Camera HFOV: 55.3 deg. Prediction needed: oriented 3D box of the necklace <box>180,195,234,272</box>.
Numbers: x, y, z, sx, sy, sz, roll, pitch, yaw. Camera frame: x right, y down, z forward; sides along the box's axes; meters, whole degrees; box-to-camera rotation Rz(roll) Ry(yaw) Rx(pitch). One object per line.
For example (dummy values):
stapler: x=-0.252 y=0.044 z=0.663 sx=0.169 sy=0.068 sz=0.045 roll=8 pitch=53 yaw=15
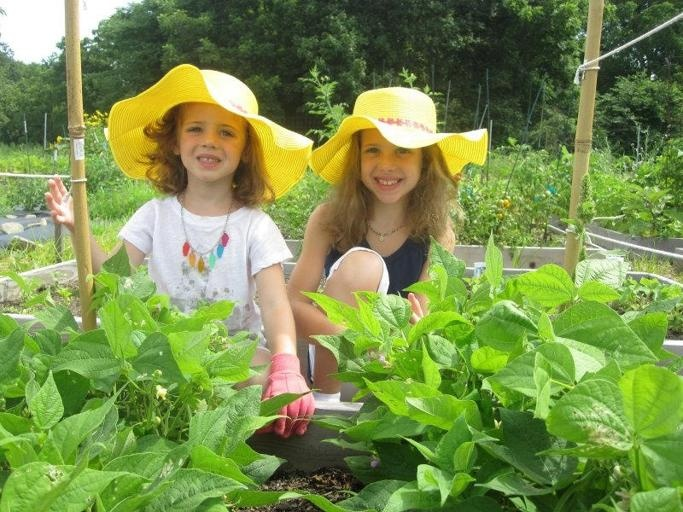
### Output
necklace: x=-0.463 y=-0.074 z=2.206 sx=0.166 sy=0.311 sz=0.021 roll=-13 pitch=37 yaw=-29

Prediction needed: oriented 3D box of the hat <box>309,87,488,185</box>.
hat: x=0.216 y=-0.496 z=2.614 sx=0.649 sy=0.314 sz=0.708 roll=0 pitch=-2 yaw=-25

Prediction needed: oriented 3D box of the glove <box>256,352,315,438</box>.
glove: x=-0.119 y=0.295 z=1.391 sx=0.102 sy=0.074 sz=0.224 roll=5 pitch=20 yaw=-10

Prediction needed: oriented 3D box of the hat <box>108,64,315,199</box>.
hat: x=-0.435 y=-0.473 z=2.407 sx=0.717 sy=0.315 sz=0.765 roll=1 pitch=-18 yaw=3
